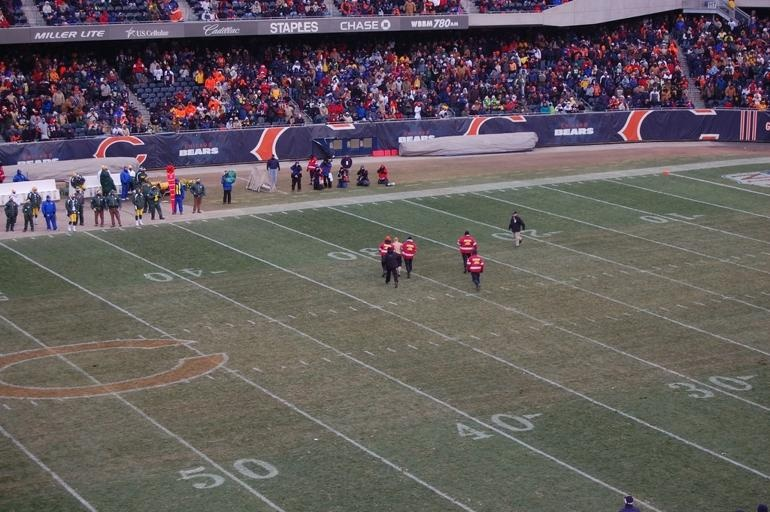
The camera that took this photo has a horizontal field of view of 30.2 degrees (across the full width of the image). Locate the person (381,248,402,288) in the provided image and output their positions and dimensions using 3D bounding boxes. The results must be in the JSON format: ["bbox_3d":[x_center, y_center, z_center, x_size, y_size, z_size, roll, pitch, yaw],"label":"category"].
[{"bbox_3d":[0.327,0.345,54.193,0.687,1.501,0.863,-5,14,0],"label":"person"}]
